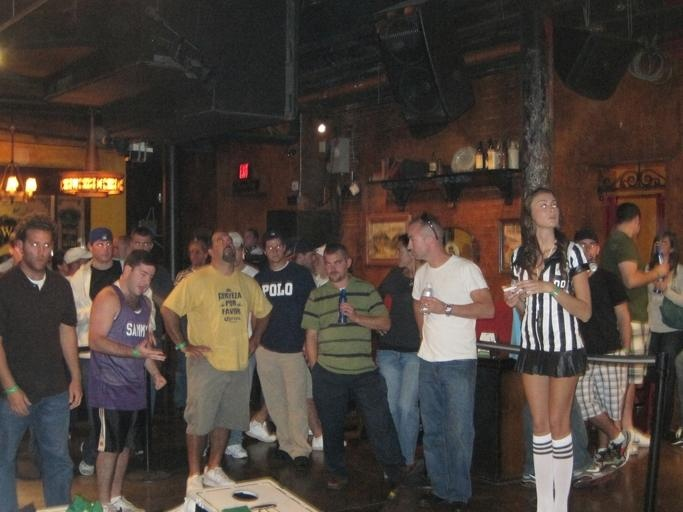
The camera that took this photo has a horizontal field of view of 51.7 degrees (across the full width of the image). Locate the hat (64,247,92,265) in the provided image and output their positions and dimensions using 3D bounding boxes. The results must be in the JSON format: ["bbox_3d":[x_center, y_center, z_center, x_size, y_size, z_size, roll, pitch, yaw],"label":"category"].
[{"bbox_3d":[-3.237,-0.019,8.578,0.322,0.117,0.233,-11,11,-14],"label":"hat"}]

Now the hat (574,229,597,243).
[{"bbox_3d":[2.461,-0.173,7.083,0.160,0.115,0.224,-1,-35,16],"label":"hat"}]

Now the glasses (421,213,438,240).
[{"bbox_3d":[0.768,-0.268,6.158,0.055,0.204,0.156,-26,4,-8],"label":"glasses"}]

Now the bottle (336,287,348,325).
[{"bbox_3d":[0.010,0.454,6.437,0.086,0.330,0.189,0,-3,-3],"label":"bottle"}]

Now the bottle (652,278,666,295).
[{"bbox_3d":[3.549,0.339,7.871,0.188,0.189,0.121,-3,-1,38],"label":"bottle"}]

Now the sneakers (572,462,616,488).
[{"bbox_3d":[2.395,2.017,6.496,0.517,0.213,0.167,0,-7,-29],"label":"sneakers"}]

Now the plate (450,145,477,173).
[{"bbox_3d":[1.698,-1.323,9.585,0.177,0.356,0.452,3,-4,-42],"label":"plate"}]

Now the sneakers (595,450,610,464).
[{"bbox_3d":[2.446,1.867,6.586,0.139,0.086,0.079,-12,9,-28],"label":"sneakers"}]
